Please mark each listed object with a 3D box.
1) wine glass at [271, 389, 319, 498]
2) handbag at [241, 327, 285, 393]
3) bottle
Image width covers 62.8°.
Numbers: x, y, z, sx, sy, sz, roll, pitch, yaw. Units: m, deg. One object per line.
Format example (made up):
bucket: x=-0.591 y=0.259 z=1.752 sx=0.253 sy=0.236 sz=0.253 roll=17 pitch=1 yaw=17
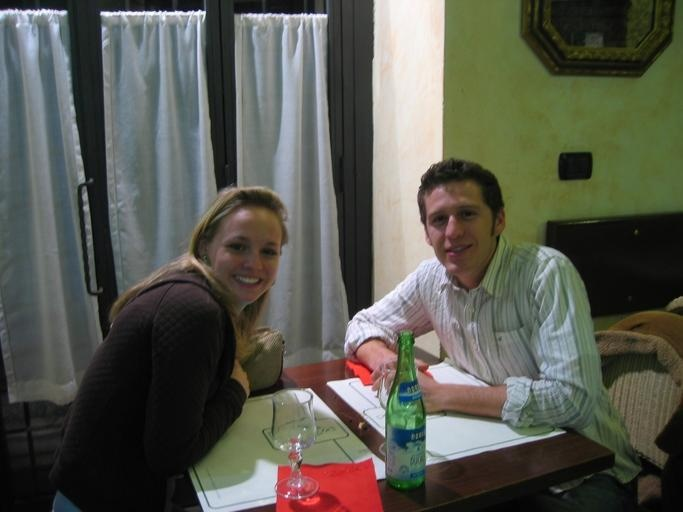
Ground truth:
wine glass: x=-0.127 y=0.501 z=1.521 sx=0.119 sy=0.252 sz=0.138 roll=-2 pitch=8 yaw=-8
handbag: x=-0.273 y=0.360 z=1.986 sx=0.132 sy=0.192 sz=0.071 roll=-1 pitch=-17 yaw=44
bottle: x=0.175 y=0.413 z=1.542 sx=0.113 sy=0.407 sz=0.127 roll=0 pitch=8 yaw=6
